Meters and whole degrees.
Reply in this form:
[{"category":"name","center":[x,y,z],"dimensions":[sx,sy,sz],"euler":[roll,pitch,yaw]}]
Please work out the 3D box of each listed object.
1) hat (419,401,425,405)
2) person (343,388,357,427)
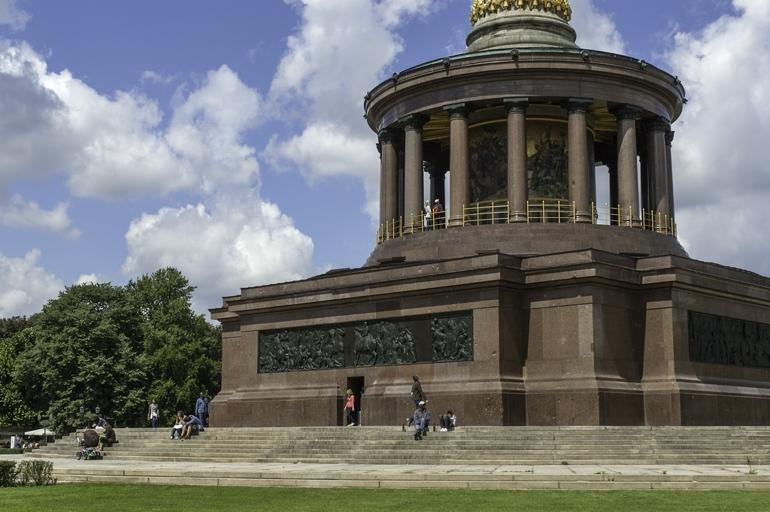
[{"category":"hat","center":[1.495,6.069,45.231],"dimensions":[0.149,0.230,0.296],"euler":[-3,-25,14]},{"category":"person","center":[-1.672,7.280,52.363],"dimensions":[0.595,1.780,1.440],"euler":[3,-24,0]}]
